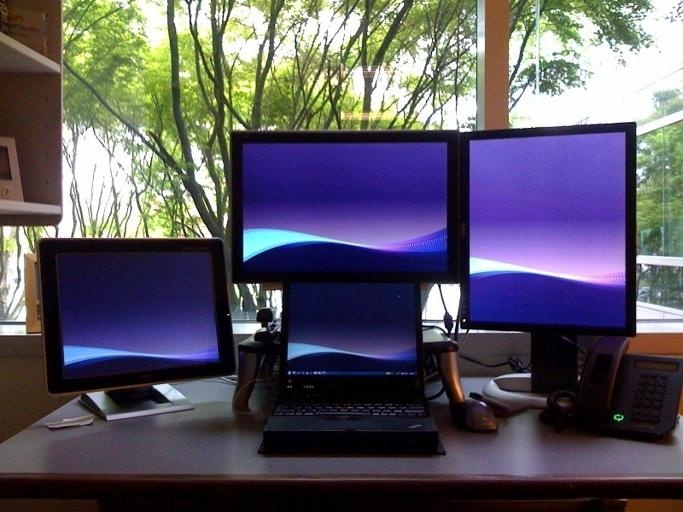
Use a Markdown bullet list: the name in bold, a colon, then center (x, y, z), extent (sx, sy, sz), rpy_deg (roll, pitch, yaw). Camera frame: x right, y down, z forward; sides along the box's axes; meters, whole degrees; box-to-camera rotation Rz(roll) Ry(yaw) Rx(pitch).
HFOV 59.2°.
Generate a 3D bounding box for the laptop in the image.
- **laptop**: center (0.031, 0.293, 1.751), extent (0.419, 0.390, 0.429), rpy_deg (0, 1, -1)

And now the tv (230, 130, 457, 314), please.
- **tv**: center (0.016, -0.133, 1.967), extent (0.574, 0.406, 0.060), rpy_deg (0, 1, 2)

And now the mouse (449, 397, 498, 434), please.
- **mouse**: center (0.394, 0.464, 1.802), extent (0.118, 0.066, 0.189), rpy_deg (-1, 2, -33)
